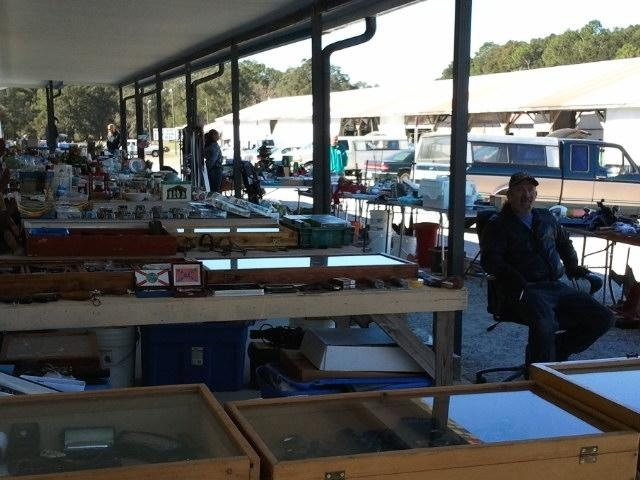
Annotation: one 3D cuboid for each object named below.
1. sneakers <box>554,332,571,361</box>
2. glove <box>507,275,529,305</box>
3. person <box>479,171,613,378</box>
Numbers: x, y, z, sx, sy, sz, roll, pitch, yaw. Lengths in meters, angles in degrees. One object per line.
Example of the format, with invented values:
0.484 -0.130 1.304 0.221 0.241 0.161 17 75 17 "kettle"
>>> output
1.802 0.803 4.148 0.165 0.210 0.056 -4 -23 16 "sneakers"
1.432 0.353 4.040 0.059 0.175 0.132 4 -2 -11 "glove"
1.683 0.211 4.211 0.980 1.377 1.090 5 11 15 "person"
